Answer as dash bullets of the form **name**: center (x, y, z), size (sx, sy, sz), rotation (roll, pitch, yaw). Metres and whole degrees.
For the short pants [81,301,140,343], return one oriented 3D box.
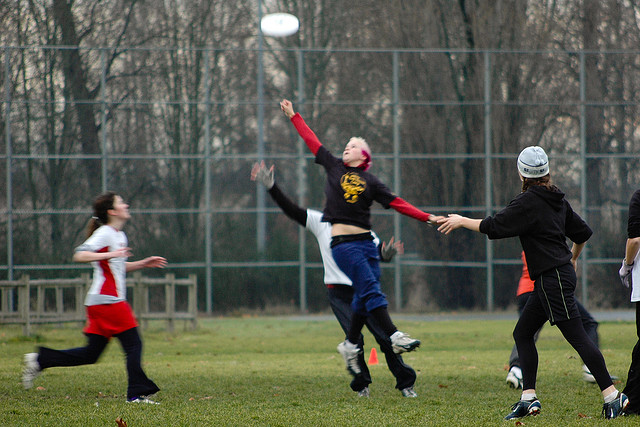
- **short pants**: center (-3.433, 1.695, 21.755), size (1.008, 0.694, 0.584), rotation (-2, 8, 8)

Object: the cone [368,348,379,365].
- **cone**: center (0.966, 2.594, 23.942), size (0.252, 0.328, 0.240), rotation (-3, 5, -17)

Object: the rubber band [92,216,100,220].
- **rubber band**: center (-3.700, 0.072, 21.730), size (0.111, 0.044, 0.050), rotation (-5, -1, -11)
